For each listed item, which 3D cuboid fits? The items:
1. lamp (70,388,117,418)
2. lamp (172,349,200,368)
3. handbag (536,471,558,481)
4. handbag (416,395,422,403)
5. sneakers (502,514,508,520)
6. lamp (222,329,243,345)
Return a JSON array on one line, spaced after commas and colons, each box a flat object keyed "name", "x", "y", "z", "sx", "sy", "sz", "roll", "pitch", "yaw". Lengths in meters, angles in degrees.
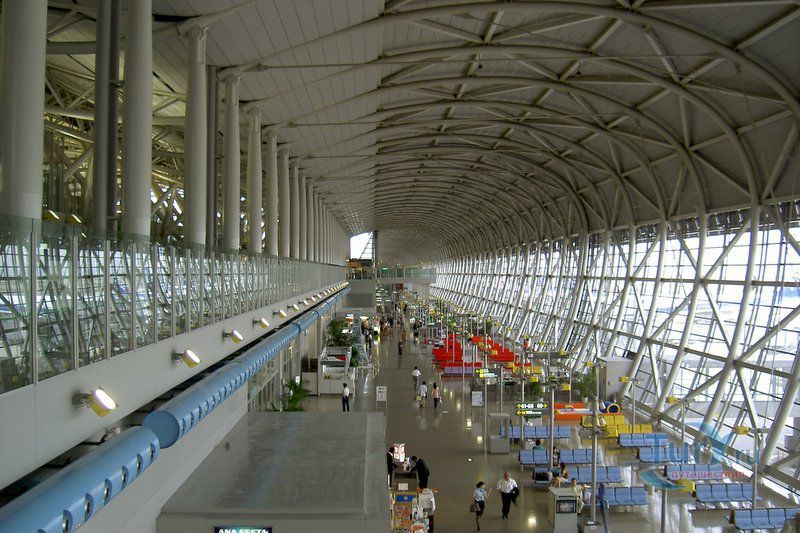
[{"name": "lamp", "x": -4.942, "y": 2.204, "z": 9.667, "sx": 0.526, "sy": 0.197, "sz": 0.362, "roll": 5, "pitch": -29, "yaw": 42}, {"name": "lamp", "x": -4.473, "y": 1.910, "z": 12.404, "sx": 0.456, "sy": 0.371, "sz": 0.289, "roll": -3, "pitch": -33, "yaw": 11}, {"name": "handbag", "x": 5.450, "y": 7.889, "z": 22.343, "sx": 0.573, "sy": 0.444, "sz": 0.242, "roll": -3, "pitch": -102, "yaw": 1}, {"name": "handbag", "x": 0.977, "y": 7.415, "z": 33.246, "sx": 0.323, "sy": 0.449, "sz": 0.435, "roll": 1, "pitch": -100, "yaw": -2}, {"name": "sneakers", "x": 3.458, "y": 8.340, "z": 19.753, "sx": 0.147, "sy": 0.081, "sz": 0.104, "roll": 0, "pitch": -102, "yaw": -3}, {"name": "lamp", "x": -4.317, "y": 1.791, "z": 15.241, "sx": 0.396, "sy": 0.360, "sz": 0.244, "roll": 13, "pitch": -16, "yaw": 35}]
